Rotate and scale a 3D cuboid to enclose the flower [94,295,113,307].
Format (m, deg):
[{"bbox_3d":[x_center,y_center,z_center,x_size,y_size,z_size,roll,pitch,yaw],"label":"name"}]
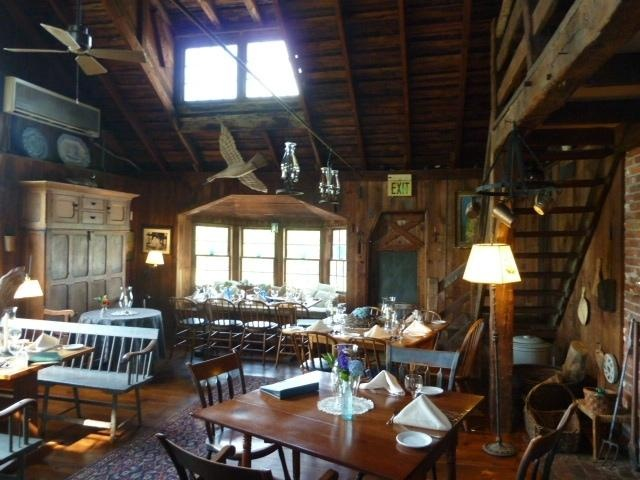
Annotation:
[{"bbox_3d":[-2.917,0.829,7.268,0.305,0.142,0.308,3,-7,1],"label":"flower"}]

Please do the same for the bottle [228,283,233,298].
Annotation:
[{"bbox_3d":[-1.479,0.849,8.891,0.074,0.158,0.127,-1,6,-9],"label":"bottle"}]

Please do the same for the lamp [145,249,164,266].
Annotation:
[{"bbox_3d":[-2.712,0.297,8.897,0.287,0.249,0.288,1,-3,-2],"label":"lamp"}]

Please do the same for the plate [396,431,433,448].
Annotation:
[{"bbox_3d":[0.653,1.378,3.709,0.229,0.046,0.206,3,7,32],"label":"plate"}]

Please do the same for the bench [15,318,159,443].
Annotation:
[{"bbox_3d":[-2.864,1.494,6.196,1.967,1.159,0.665,8,-10,11],"label":"bench"}]

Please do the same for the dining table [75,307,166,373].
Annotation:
[{"bbox_3d":[-2.551,1.180,7.205,1.011,0.594,1.024,1,-5,8],"label":"dining table"}]

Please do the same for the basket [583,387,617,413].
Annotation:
[{"bbox_3d":[2.705,1.560,5.251,0.221,0.150,0.244,1,-10,-1],"label":"basket"}]

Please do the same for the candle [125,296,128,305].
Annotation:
[{"bbox_3d":[-2.576,0.823,7.188,0.052,0.114,0.022,-4,8,-32],"label":"candle"}]

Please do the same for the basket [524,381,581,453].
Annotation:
[{"bbox_3d":[2.313,1.735,5.379,0.448,0.685,0.670,-1,30,20],"label":"basket"}]

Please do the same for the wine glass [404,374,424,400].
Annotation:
[{"bbox_3d":[0.726,1.147,4.212,0.175,0.197,0.186,0,-6,1],"label":"wine glass"}]

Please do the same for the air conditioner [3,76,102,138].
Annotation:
[{"bbox_3d":[-3.718,-1.824,7.482,0.206,0.645,1.404,3,7,26],"label":"air conditioner"}]

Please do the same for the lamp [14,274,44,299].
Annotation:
[{"bbox_3d":[-3.382,0.557,6.257,0.417,0.342,0.384,0,-4,-30],"label":"lamp"}]

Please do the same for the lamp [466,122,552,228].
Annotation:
[{"bbox_3d":[1.939,-0.610,5.249,0.658,0.896,0.981,2,7,23],"label":"lamp"}]

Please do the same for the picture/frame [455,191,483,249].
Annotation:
[{"bbox_3d":[2.037,-0.352,7.453,0.515,0.758,0.804,0,-5,15],"label":"picture/frame"}]

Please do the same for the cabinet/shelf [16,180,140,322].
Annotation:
[{"bbox_3d":[-3.408,0.157,7.446,0.613,2.299,1.992,-1,-3,15],"label":"cabinet/shelf"}]
